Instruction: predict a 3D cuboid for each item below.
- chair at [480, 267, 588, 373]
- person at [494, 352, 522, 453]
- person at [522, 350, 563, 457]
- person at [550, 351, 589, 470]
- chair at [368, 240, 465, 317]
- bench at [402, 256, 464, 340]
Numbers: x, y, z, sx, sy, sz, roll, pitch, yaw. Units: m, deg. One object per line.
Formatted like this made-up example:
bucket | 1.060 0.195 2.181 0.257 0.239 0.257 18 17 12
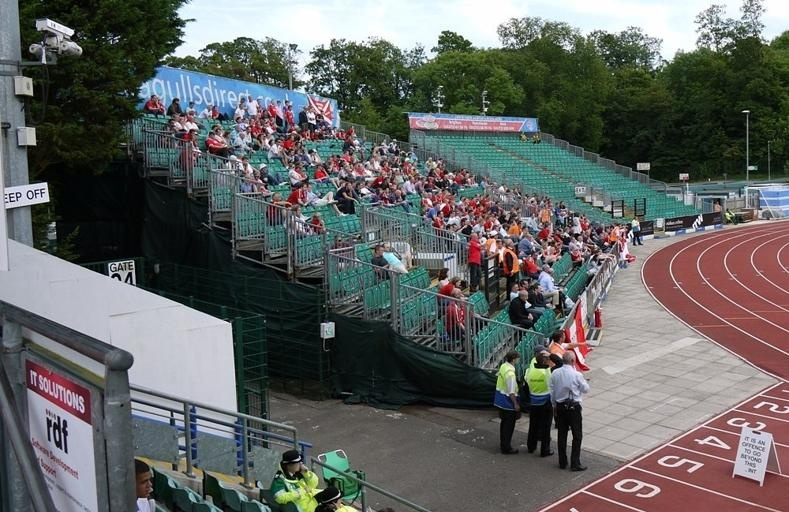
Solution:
chair | 4.219 2.442 33.869 1.804 3.510 1.864 0 1 35
person | 3.312 4.266 30.360 0.682 2.995 0.583 2 8 11
person | 4.328 4.300 30.618 1.184 2.796 0.883 0 0 12
person | 4.970 4.409 29.704 1.025 3.352 0.645 2 8 7
chair | 0.518 0.323 34.966 2.353 2.186 1.855 -1 1 -4
bench | 1.622 1.557 34.072 1.951 1.581 3.626 5 10 21
